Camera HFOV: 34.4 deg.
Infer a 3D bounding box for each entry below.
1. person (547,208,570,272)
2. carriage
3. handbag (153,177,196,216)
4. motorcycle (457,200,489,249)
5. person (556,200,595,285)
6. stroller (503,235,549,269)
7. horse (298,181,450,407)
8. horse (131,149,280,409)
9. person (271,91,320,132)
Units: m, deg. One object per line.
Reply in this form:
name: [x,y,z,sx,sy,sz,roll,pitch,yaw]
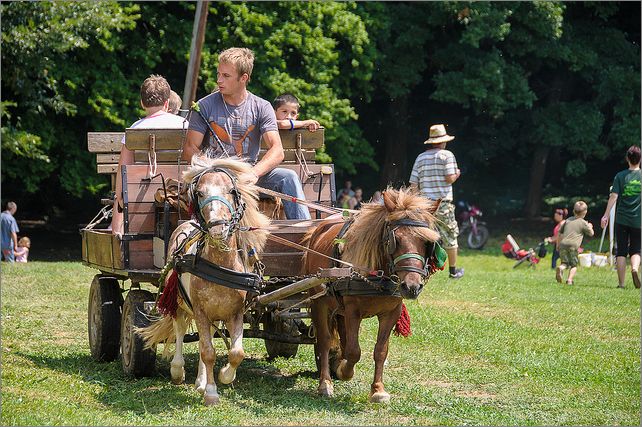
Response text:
person: [6.772,0.820,29.998,0.644,1.885,0.537,11,9,37]
carriage: [-1.030,1.419,21.808,9.383,4.118,6.207,2,3,43]
handbag: [-2.888,-0.421,20.294,0.693,0.274,0.701,29,29,37]
motorcycle: [5.363,0.427,36.811,1.521,1.775,0.761,4,0,19]
person: [6.443,0.727,26.669,1.032,2.225,0.905,2,1,22]
stroller: [5.965,1.163,30.524,1.224,0.936,2.056,2,-3,7]
horse: [0.730,1.761,21.168,1.511,4.189,5.717,2,-4,-19]
horse: [-2.520,1.559,21.410,2.009,4.484,6.995,1,-2,-16]
person: [-0.660,-2.173,22.525,0.752,0.531,1.051,1,-5,-10]
